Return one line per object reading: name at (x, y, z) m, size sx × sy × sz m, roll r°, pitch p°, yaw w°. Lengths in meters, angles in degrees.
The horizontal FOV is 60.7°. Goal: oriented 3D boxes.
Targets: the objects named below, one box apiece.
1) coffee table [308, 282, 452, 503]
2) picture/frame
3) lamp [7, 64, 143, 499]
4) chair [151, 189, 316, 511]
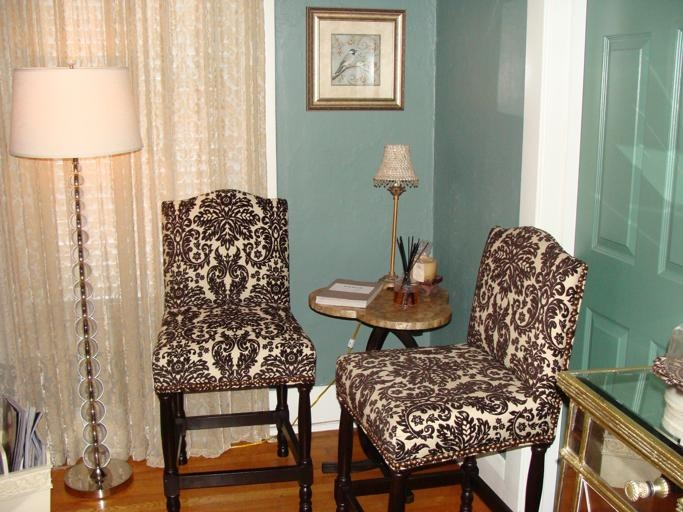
coffee table at (0.264, 0.599, 3.072) m, size 0.870 × 0.962 × 0.838 m, roll 0°, pitch 17°, yaw -2°
picture/frame at (0.045, -1.040, 3.022) m, size 0.476 × 0.522 × 0.036 m, roll -2°, pitch 12°, yaw -10°
lamp at (-1.150, 0.150, 2.662) m, size 0.511 × 1.930 × 0.377 m, roll 0°, pitch 15°, yaw 11°
chair at (-0.504, 0.421, 2.706) m, size 0.679 × 1.383 × 0.729 m, roll -6°, pitch 15°, yaw -11°
